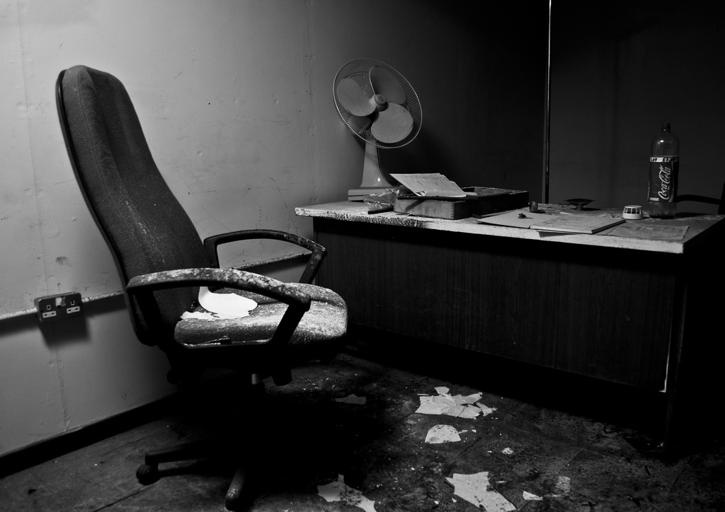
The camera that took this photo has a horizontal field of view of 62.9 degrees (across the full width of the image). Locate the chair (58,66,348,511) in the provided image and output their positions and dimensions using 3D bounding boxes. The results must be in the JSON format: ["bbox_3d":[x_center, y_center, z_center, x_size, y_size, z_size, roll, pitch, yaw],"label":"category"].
[{"bbox_3d":[-0.618,-0.137,2.411,0.955,1.295,0.670,-6,13,1],"label":"chair"}]

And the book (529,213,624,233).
[{"bbox_3d":[1.005,-0.161,2.736,0.310,0.037,0.508,5,16,39],"label":"book"}]

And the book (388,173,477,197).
[{"bbox_3d":[0.335,-0.350,2.914,0.233,0.063,0.186,5,-10,26],"label":"book"}]
